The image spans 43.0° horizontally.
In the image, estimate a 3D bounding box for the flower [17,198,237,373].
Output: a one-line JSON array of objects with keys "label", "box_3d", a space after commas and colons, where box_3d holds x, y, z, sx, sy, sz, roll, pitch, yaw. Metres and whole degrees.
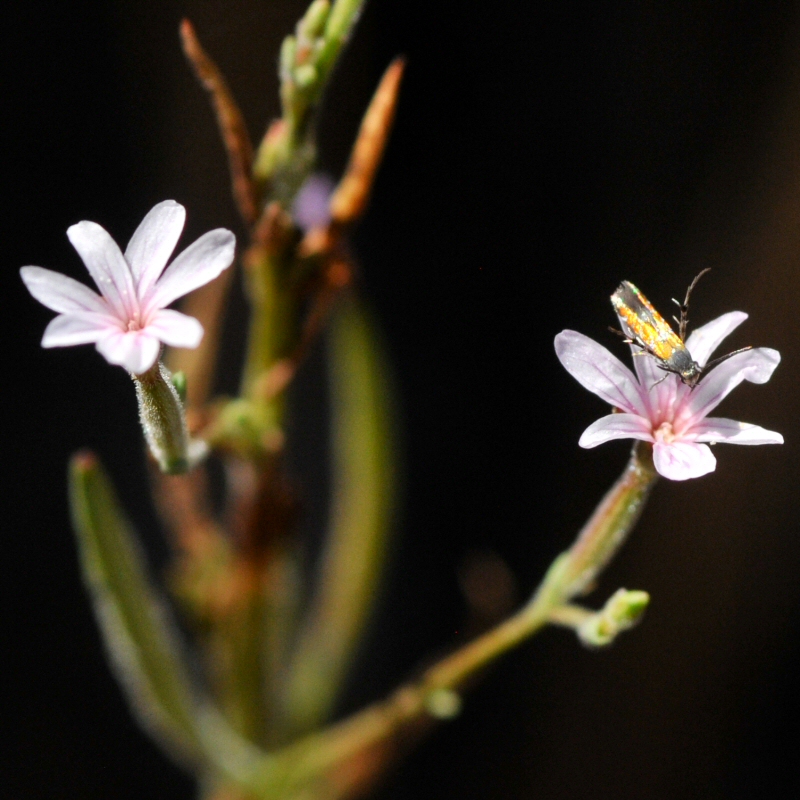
[{"label": "flower", "box_3d": [-0.114, -0.046, 0.420, 0.090, 0.073, 0.065, -2, 8, -4]}]

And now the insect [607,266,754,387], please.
[{"label": "insect", "box_3d": [0.121, -0.028, 0.460, 0.051, 0.063, 0.028, -30, -3, -20]}]
